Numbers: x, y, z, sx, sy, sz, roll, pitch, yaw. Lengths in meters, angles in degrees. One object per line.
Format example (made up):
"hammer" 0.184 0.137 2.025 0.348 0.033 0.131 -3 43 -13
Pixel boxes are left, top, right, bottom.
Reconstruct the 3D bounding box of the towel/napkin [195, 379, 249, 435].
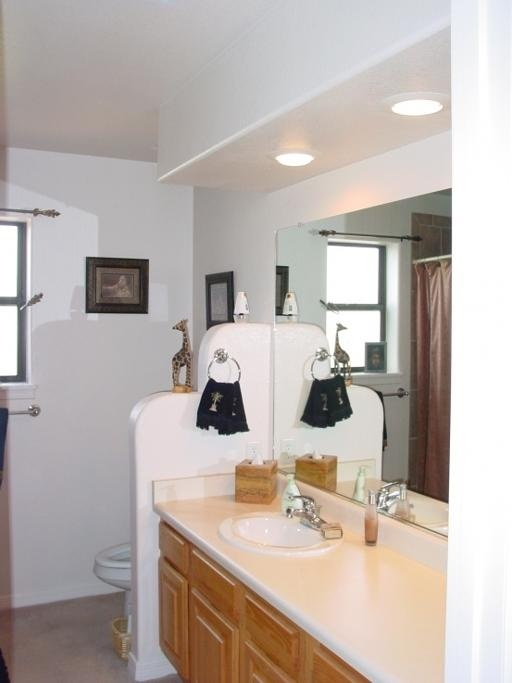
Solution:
"towel/napkin" -0.163 0.304 2.466 0.216 0.254 0.125 3 -4 -17

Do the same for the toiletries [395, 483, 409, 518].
"toiletries" 0.482 0.527 1.764 0.040 0.098 0.069 -3 1 -24

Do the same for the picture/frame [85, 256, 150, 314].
"picture/frame" -0.933 -0.369 3.546 0.338 0.363 0.024 0 1 -29

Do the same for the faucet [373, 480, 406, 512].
"faucet" 0.452 0.520 1.825 0.112 0.128 0.073 1 -4 9

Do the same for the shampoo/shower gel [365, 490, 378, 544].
"shampoo/shower gel" 0.378 0.591 1.783 0.046 0.157 0.065 -3 1 11

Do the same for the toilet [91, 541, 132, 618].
"toilet" -0.748 1.297 2.835 0.186 0.371 0.534 -3 1 -15

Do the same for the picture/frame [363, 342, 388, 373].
"picture/frame" 0.440 0.061 1.975 0.007 0.099 0.102 -4 1 -25

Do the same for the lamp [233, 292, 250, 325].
"lamp" -0.077 -0.165 2.641 0.063 0.146 0.112 -3 1 -4

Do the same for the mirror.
"mirror" 0.390 0.247 2.171 0.082 1.364 1.171 11 12 29

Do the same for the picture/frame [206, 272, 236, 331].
"picture/frame" -0.203 -0.240 3.184 0.024 0.392 0.351 0 1 -28

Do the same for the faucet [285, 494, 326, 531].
"faucet" 0.184 0.642 2.010 0.061 0.116 0.221 2 -7 -22

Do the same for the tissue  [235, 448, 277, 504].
"tissue " 0.017 0.590 2.427 0.177 0.276 0.187 1 3 4
